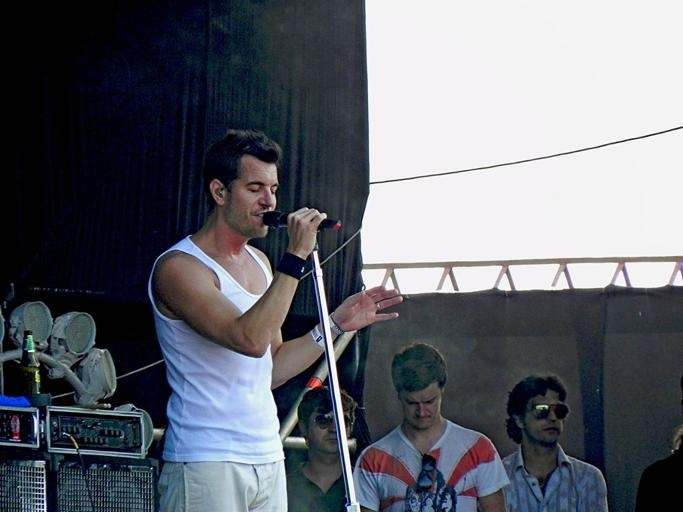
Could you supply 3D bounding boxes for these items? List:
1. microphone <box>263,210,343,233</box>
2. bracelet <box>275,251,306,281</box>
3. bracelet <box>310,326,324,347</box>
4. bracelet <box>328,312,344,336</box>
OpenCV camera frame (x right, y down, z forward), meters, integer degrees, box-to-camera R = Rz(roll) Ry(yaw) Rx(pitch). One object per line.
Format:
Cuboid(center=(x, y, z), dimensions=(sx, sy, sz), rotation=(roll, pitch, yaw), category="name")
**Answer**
Cuboid(center=(-0.195, -0.174, 5.544), dimensions=(0.418, 0.114, 0.250), rotation=(1, -8, 10), category="microphone")
Cuboid(center=(-0.237, 0.053, 5.444), dimensions=(0.126, 0.103, 0.130), rotation=(26, 1, 5), category="bracelet")
Cuboid(center=(-0.117, 0.409, 5.837), dimensions=(0.044, 0.113, 0.080), rotation=(-20, 39, -24), category="bracelet")
Cuboid(center=(-0.014, 0.352, 5.827), dimensions=(0.035, 0.097, 0.079), rotation=(-16, 23, -14), category="bracelet")
